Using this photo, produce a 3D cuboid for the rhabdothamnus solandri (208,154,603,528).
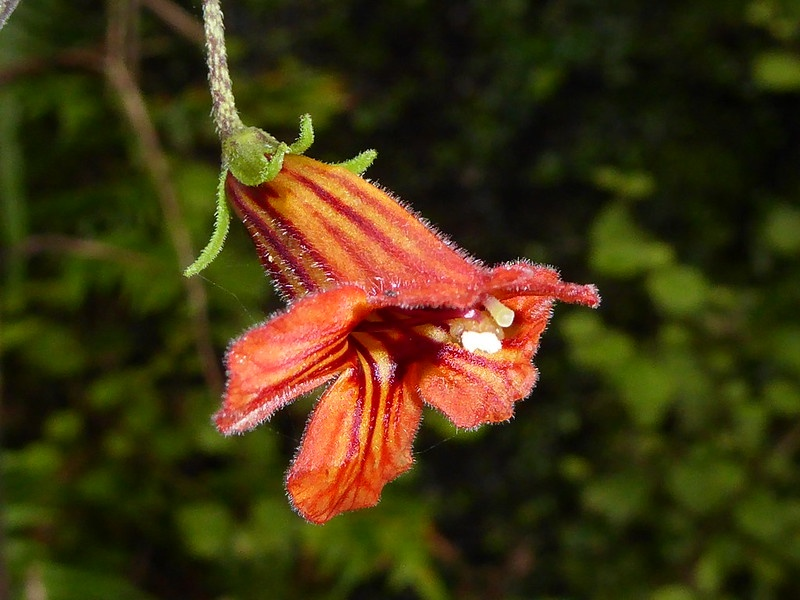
[{"bbox_3d":[-0.105,-0.171,3.937,1.238,0.915,1.536,-21,47,0],"label":"rhabdothamnus solandri"}]
